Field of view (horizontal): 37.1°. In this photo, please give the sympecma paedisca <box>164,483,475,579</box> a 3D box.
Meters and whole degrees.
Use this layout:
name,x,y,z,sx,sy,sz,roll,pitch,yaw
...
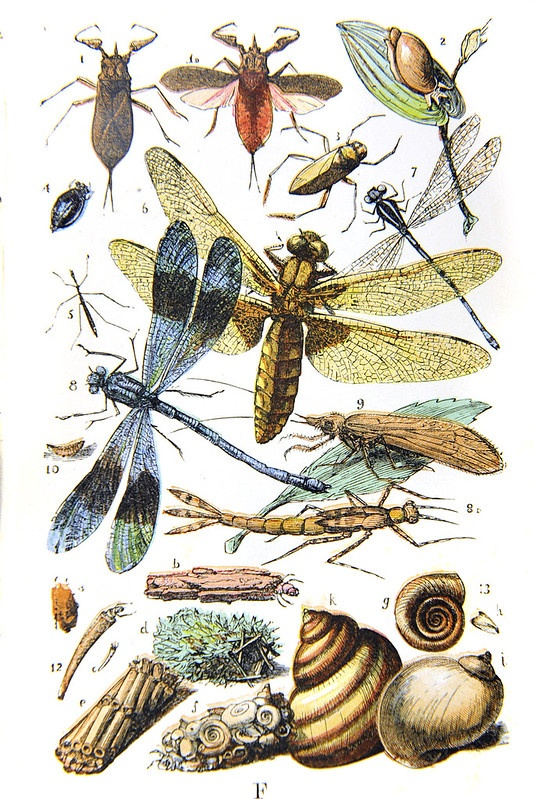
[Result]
name,x,y,z,sx,sy,sz,roll,pitch,yaw
sympecma paedisca,0.175,0.442,2.752,1.049,0.234,0.156,-1,-41,-3

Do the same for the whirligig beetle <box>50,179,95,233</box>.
name,x,y,z,sx,sy,sz,roll,pitch,yaw
whirligig beetle,-0.685,-0.678,2.825,0.104,0.058,0.181,38,-91,-5
